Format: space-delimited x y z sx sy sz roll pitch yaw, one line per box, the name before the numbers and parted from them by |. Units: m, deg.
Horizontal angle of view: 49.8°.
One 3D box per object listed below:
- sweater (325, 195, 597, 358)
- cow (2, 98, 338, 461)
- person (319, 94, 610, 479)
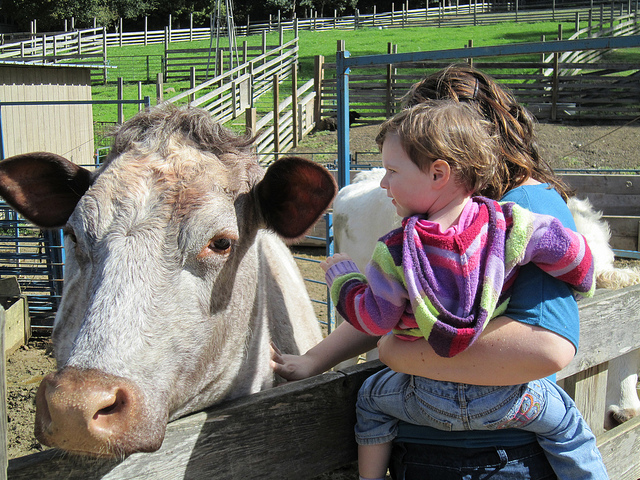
sweater | 0.544 0.137 2.649 1.019 0.595 0.429 -3 7 0
cow | -0.615 0.088 3.110 1.487 1.413 1.124 -8 9 -35
person | 0.551 0.211 2.702 1.024 1.545 0.509 -3 7 -2
